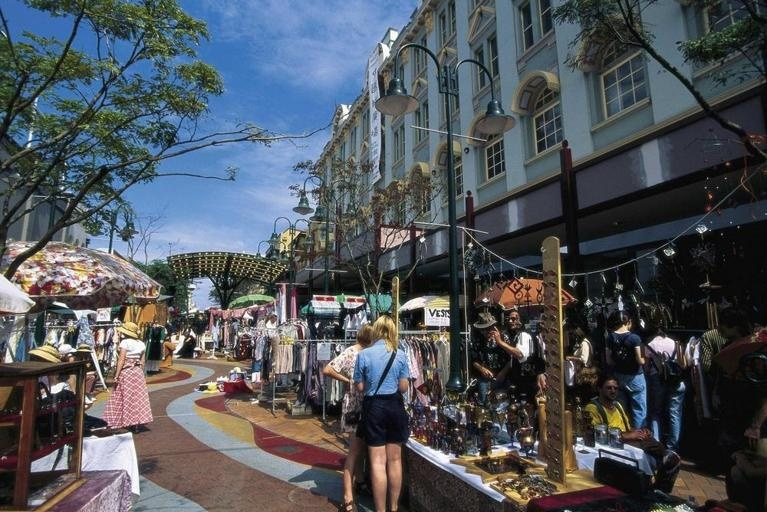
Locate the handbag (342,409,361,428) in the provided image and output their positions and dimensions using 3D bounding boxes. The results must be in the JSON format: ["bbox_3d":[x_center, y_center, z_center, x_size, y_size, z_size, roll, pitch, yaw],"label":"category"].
[{"bbox_3d":[-0.470,2.527,8.047,0.268,0.240,0.250,1,-20,0],"label":"handbag"}]

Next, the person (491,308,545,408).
[{"bbox_3d":[2.604,2.155,9.825,0.774,2.236,0.831,-11,17,8],"label":"person"}]

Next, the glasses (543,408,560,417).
[{"bbox_3d":[2.180,1.998,6.674,0.064,0.127,0.317,5,-13,-19],"label":"glasses"}]

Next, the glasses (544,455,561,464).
[{"bbox_3d":[2.163,2.607,6.648,0.035,0.097,0.266,7,-14,-25],"label":"glasses"}]

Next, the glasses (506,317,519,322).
[{"bbox_3d":[2.375,1.176,9.571,0.134,0.047,0.141,-12,-33,37],"label":"glasses"}]

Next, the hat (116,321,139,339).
[{"bbox_3d":[-5.404,1.644,11.238,0.395,0.181,0.502,21,-20,10],"label":"hat"}]

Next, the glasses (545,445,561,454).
[{"bbox_3d":[2.175,2.483,6.657,0.147,0.109,0.141,4,-7,-30],"label":"glasses"}]

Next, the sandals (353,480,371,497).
[{"bbox_3d":[-0.310,3.771,8.485,0.149,0.189,0.433,7,-16,-32],"label":"sandals"}]

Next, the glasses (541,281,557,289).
[{"bbox_3d":[2.153,0.366,6.696,0.111,0.045,0.105,-5,-21,0],"label":"glasses"}]

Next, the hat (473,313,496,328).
[{"bbox_3d":[1.986,1.279,10.171,0.373,0.166,0.428,-7,-14,-18],"label":"hat"}]

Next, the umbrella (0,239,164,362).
[{"bbox_3d":[-5.456,0.324,9.729,1.684,1.188,2.166,1,-12,-1],"label":"umbrella"}]

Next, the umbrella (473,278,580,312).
[{"bbox_3d":[3.071,0.784,10.873,1.357,0.755,2.142,4,-13,-13],"label":"umbrella"}]

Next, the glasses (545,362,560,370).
[{"bbox_3d":[2.181,1.409,6.651,0.053,0.104,0.254,8,-14,-28],"label":"glasses"}]

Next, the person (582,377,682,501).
[{"bbox_3d":[3.557,2.573,7.347,0.709,1.573,1.238,1,-8,-39],"label":"person"}]

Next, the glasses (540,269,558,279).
[{"bbox_3d":[2.156,0.239,6.706,0.113,0.046,0.104,-20,4,-37],"label":"glasses"}]

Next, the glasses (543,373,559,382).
[{"bbox_3d":[2.183,1.572,6.711,0.115,0.115,0.332,5,-13,-16],"label":"glasses"}]

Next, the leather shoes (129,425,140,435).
[{"bbox_3d":[-5.499,3.864,11.604,0.274,0.093,0.201,2,-4,-27],"label":"leather shoes"}]

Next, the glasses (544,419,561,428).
[{"bbox_3d":[2.193,2.168,6.707,0.054,0.126,0.325,5,-13,-19],"label":"glasses"}]
